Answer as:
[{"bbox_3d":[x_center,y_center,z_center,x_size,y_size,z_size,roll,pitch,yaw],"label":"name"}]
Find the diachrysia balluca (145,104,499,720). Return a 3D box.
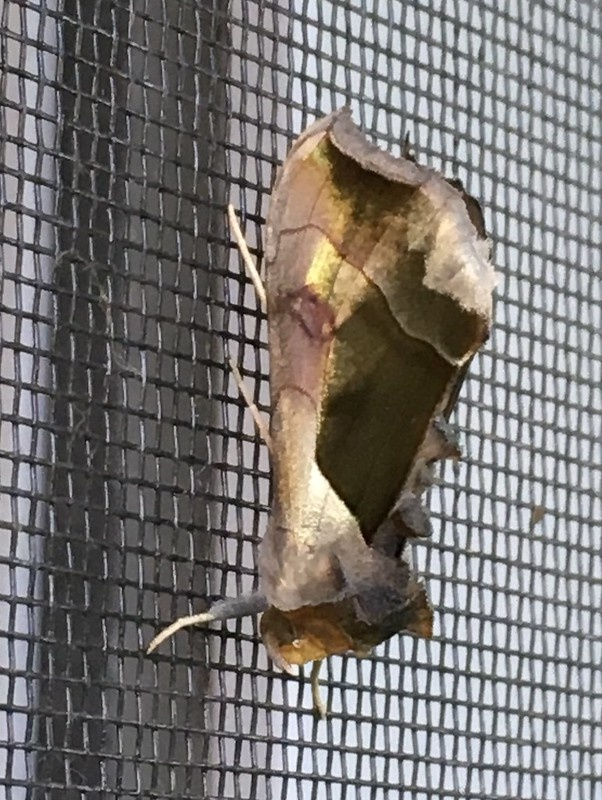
[{"bbox_3d":[0.017,0.003,1.355,0.132,0.067,0.282,15,95,13],"label":"diachrysia balluca"}]
